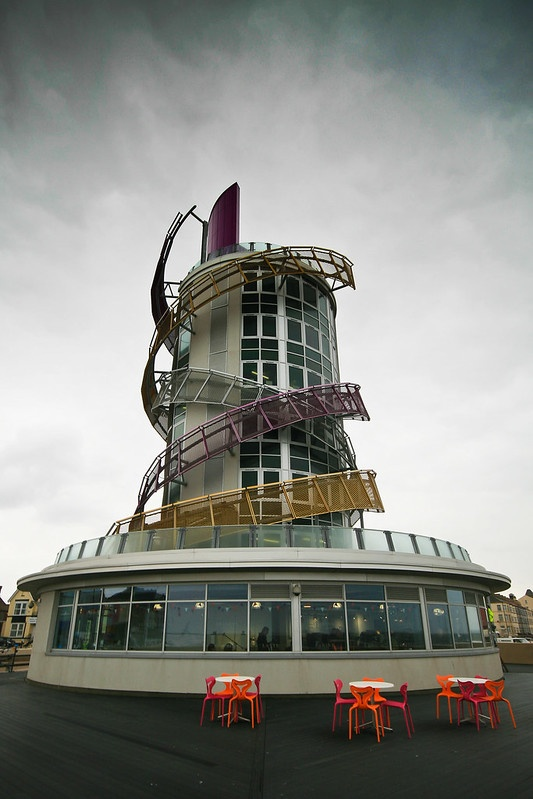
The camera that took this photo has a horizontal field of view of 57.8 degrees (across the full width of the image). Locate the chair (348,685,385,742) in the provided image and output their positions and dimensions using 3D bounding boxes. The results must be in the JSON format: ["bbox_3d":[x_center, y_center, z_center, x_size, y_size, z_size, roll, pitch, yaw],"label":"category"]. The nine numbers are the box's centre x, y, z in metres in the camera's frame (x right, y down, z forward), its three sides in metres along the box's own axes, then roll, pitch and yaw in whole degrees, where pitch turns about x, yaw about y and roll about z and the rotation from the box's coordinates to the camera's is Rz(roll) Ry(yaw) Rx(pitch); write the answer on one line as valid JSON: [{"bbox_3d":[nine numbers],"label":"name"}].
[{"bbox_3d":[1.860,5.626,9.071,0.579,0.893,0.604,-12,-26,28],"label":"chair"}]

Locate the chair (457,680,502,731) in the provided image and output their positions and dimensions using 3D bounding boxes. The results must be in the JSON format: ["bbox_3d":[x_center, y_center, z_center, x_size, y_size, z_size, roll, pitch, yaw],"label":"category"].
[{"bbox_3d":[4.210,5.873,9.744,0.512,0.812,0.463,10,-19,-30],"label":"chair"}]

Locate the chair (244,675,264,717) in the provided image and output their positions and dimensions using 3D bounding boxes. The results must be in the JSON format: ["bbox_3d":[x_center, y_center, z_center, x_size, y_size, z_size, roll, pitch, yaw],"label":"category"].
[{"bbox_3d":[-0.278,5.905,9.921,0.459,0.701,0.480,-20,-25,41],"label":"chair"}]

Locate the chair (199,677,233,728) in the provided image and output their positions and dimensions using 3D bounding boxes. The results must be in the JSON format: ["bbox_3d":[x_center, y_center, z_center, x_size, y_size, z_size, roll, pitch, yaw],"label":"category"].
[{"bbox_3d":[-1.014,6.007,10.037,0.534,0.729,0.541,-9,-24,29],"label":"chair"}]

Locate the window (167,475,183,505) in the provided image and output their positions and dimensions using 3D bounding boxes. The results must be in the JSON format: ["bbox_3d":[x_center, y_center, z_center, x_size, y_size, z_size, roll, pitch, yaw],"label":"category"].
[{"bbox_3d":[-4.120,3.893,22.005,0.142,1.953,1.520,4,-8,-36],"label":"window"}]

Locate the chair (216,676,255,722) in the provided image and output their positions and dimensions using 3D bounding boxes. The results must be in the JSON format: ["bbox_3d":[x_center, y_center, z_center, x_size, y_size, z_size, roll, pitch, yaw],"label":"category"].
[{"bbox_3d":[-0.588,6.052,10.140,0.759,0.886,0.615,7,-15,-17],"label":"chair"}]

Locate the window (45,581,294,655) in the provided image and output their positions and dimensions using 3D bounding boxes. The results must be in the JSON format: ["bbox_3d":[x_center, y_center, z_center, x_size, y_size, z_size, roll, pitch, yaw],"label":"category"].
[{"bbox_3d":[-2.767,6.356,14.726,7.194,2.086,0.910,-10,-29,16],"label":"window"}]

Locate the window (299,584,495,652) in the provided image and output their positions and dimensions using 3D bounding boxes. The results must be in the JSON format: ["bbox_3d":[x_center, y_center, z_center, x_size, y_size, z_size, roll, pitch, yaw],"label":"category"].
[{"bbox_3d":[3.932,6.509,14.967,6.169,1.808,0.764,10,-30,-23],"label":"window"}]

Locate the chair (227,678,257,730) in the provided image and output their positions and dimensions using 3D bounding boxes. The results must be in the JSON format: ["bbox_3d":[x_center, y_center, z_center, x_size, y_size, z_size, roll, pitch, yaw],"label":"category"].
[{"bbox_3d":[-0.479,5.983,9.974,0.540,0.838,0.555,-6,-24,12],"label":"chair"}]

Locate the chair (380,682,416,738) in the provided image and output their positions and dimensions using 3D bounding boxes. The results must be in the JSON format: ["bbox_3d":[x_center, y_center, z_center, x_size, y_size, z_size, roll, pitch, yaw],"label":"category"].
[{"bbox_3d":[2.586,5.847,9.548,0.649,0.876,0.646,5,-16,-11],"label":"chair"}]
